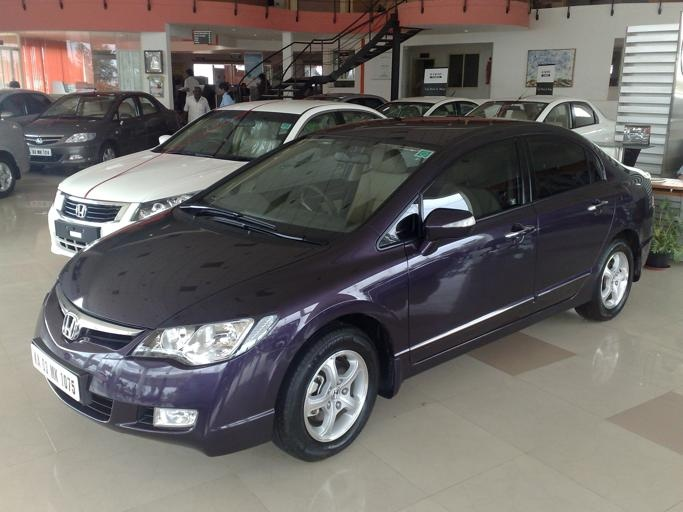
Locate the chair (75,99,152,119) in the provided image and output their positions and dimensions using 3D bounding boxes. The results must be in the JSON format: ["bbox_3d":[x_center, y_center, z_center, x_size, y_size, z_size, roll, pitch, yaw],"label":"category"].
[{"bbox_3d":[-5.440,-3.490,10.357,1.162,0.485,0.691,-9,18,-35],"label":"chair"}]

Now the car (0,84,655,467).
[{"bbox_3d":[0.341,-0.112,3.001,3.908,1.194,1.904,-13,24,-35],"label":"car"}]
